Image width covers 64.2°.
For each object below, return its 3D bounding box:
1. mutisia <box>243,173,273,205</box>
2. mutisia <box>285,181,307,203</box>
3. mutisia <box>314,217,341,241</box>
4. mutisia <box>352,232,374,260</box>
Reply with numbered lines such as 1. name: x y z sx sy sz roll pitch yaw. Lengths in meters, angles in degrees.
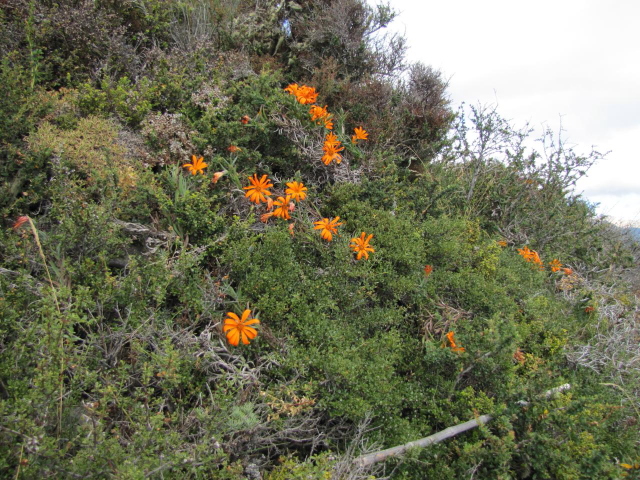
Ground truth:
1. mutisia: -0.641 -0.529 5.210 0.278 0.334 0.061 0 -21 -18
2. mutisia: -0.231 -0.483 5.195 0.196 0.215 0.077 -18 -21 -32
3. mutisia: 0.075 -0.140 5.192 0.263 0.183 0.200 20 -9 -2
4. mutisia: 0.426 0.054 5.242 0.247 0.261 0.085 39 -23 -8
